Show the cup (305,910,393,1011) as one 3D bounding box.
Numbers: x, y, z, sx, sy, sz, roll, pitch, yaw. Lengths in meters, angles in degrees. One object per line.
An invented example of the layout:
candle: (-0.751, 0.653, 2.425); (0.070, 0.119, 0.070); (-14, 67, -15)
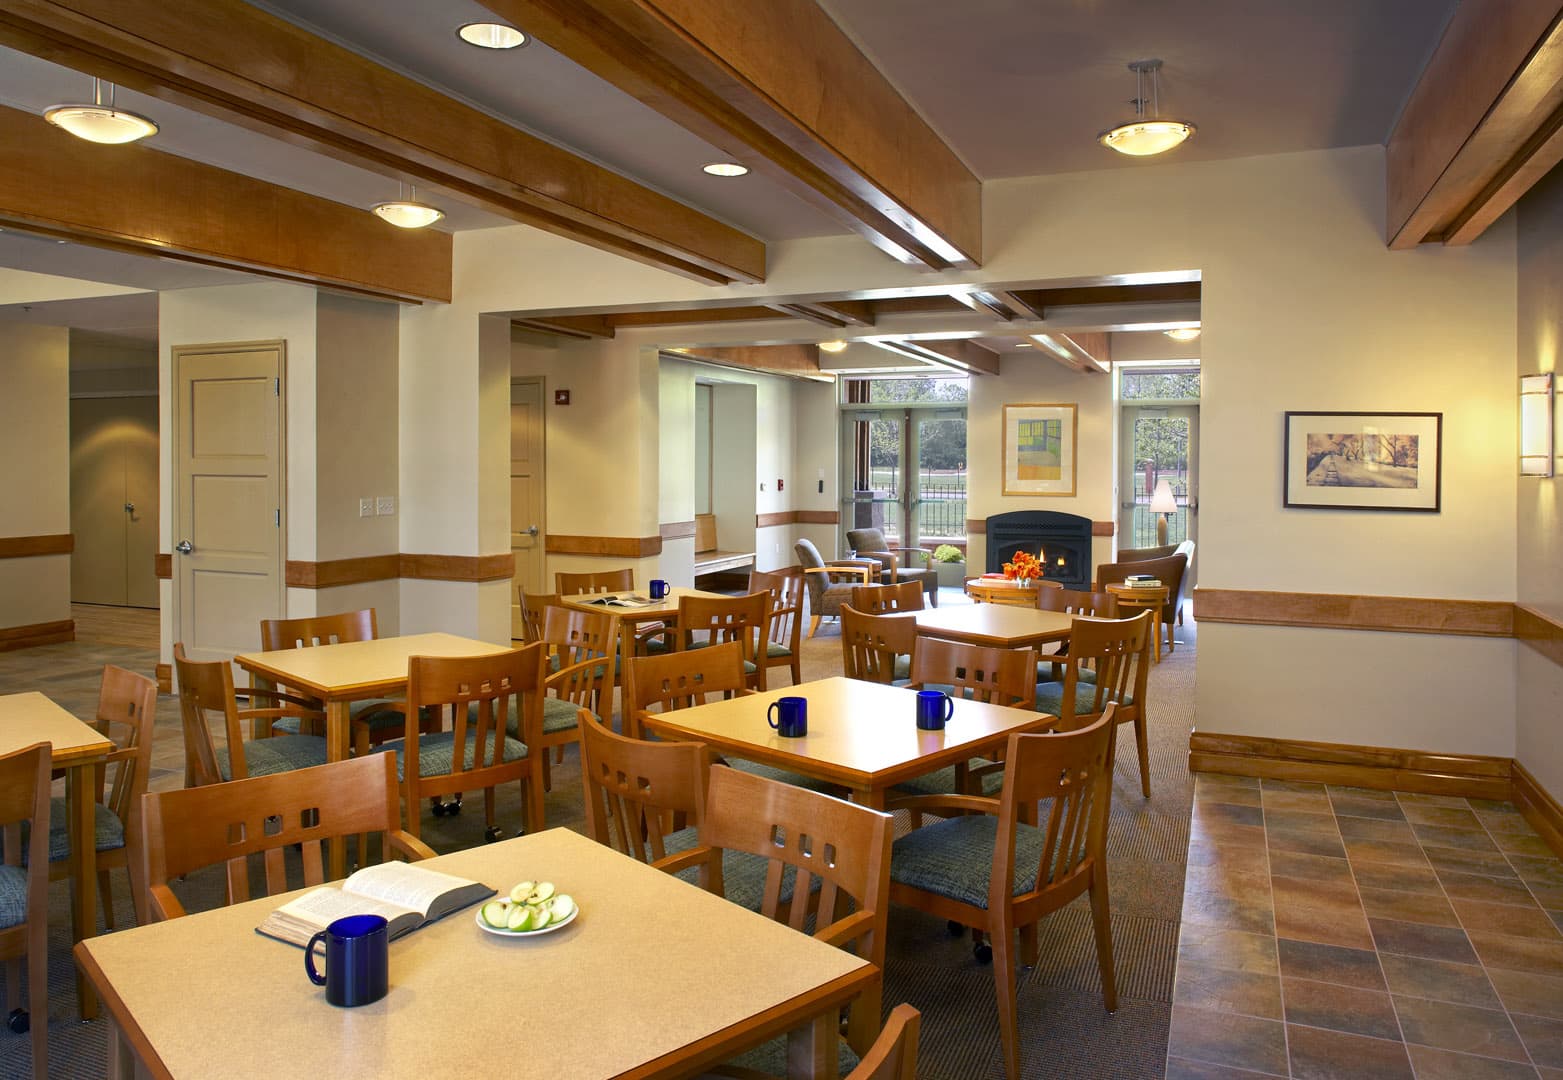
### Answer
cup: (-1.004, 0.942, 2.411); (0.227, 0.172, 0.139); (2, 11, 11)

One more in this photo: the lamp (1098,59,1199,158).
lamp: (1.685, -1.955, 4.998); (0.414, 0.372, 0.418); (0, 3, 37)

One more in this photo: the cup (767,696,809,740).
cup: (0.026, 0.638, 3.877); (0.174, 0.137, 0.106); (-3, 6, -13)

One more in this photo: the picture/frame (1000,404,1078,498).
picture/frame: (3.116, -1.071, 12.697); (1.236, 1.419, 0.112); (0, -3, 11)

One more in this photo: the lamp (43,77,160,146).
lamp: (-3.028, -1.919, 4.725); (0.396, 0.227, 0.386); (4, 8, 18)

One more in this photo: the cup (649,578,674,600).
cup: (-0.779, 0.337, 6.992); (0.170, 0.142, 0.100); (3, -3, -25)

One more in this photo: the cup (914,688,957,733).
cup: (0.596, 0.628, 3.990); (0.174, 0.136, 0.103); (-1, 1, -16)
